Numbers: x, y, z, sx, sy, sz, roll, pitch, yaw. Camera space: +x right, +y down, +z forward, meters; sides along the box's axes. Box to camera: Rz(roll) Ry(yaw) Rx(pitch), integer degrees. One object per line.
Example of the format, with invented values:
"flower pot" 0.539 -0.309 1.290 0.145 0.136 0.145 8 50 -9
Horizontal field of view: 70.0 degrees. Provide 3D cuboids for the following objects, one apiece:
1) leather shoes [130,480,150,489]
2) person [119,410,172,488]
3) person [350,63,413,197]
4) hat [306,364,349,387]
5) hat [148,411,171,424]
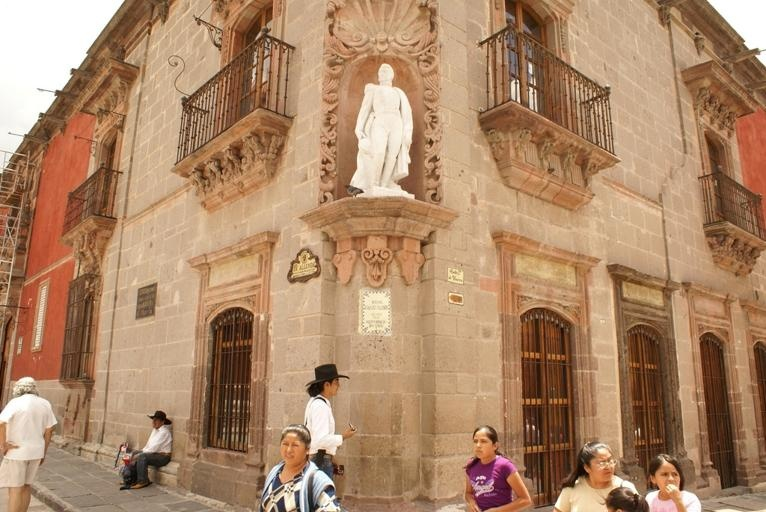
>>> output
"leather shoes" -5.120 4.741 11.333 0.106 0.140 0.321 -18 -33 37
"person" -5.184 4.221 11.848 0.834 1.417 0.649 23 -43 -32
"person" -0.031 -2.205 9.609 1.057 2.475 0.588 1 -24 -2
"hat" -0.904 1.778 8.231 0.463 0.192 0.409 -17 -13 18
"hat" -4.863 3.482 11.766 0.318 0.140 0.388 1 -23 22
